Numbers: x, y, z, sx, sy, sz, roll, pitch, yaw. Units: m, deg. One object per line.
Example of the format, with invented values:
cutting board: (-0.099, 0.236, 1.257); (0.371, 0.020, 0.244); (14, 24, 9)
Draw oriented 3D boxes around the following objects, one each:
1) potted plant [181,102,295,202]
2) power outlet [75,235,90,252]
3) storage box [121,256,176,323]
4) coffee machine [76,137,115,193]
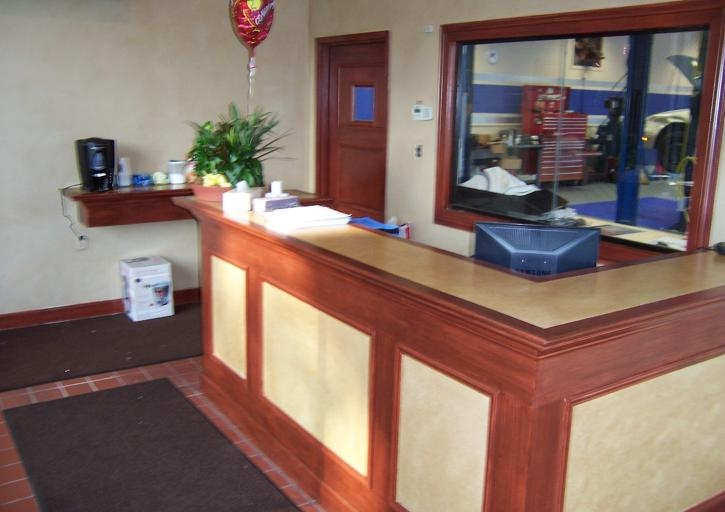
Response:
potted plant: (-0.882, -0.681, 3.851); (0.630, 0.490, 0.570); (-13, 1, 8)
power outlet: (-2.530, -0.124, 5.017); (0.164, 0.135, 0.036); (5, 5, -21)
storage box: (-1.844, 0.352, 5.236); (0.489, 0.487, 0.459); (-6, -9, -5)
coffee machine: (-2.283, -0.778, 4.776); (0.349, 0.406, 0.311); (-1, 17, -11)
